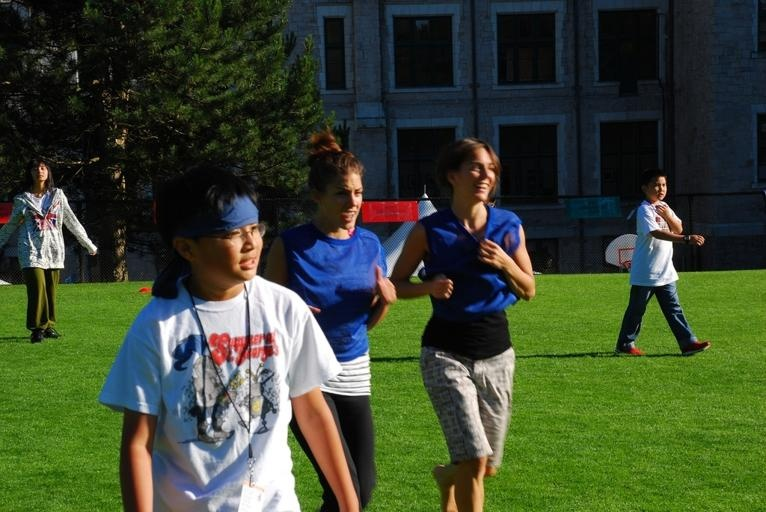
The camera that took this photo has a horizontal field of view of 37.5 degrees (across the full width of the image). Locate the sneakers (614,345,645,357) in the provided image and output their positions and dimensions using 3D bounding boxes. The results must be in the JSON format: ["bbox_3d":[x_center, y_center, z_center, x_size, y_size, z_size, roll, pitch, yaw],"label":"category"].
[{"bbox_3d":[3.805,1.473,17.439,0.435,0.172,0.158,0,3,-2],"label":"sneakers"}]

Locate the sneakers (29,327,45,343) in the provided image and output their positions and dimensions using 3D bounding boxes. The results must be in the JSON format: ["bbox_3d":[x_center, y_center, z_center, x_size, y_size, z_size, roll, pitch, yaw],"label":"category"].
[{"bbox_3d":[-5.527,1.270,18.009,0.264,0.254,0.169,0,-1,25],"label":"sneakers"}]
